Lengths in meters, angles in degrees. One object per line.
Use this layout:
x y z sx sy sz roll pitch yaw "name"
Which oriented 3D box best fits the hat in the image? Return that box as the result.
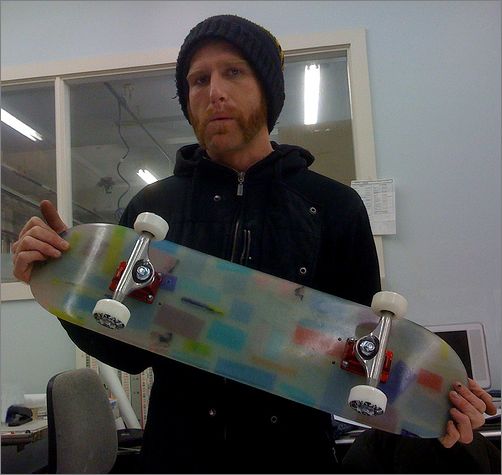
-0.054 -0.534 1.477 0.286 0.291 0.373 2 -43 6 "hat"
